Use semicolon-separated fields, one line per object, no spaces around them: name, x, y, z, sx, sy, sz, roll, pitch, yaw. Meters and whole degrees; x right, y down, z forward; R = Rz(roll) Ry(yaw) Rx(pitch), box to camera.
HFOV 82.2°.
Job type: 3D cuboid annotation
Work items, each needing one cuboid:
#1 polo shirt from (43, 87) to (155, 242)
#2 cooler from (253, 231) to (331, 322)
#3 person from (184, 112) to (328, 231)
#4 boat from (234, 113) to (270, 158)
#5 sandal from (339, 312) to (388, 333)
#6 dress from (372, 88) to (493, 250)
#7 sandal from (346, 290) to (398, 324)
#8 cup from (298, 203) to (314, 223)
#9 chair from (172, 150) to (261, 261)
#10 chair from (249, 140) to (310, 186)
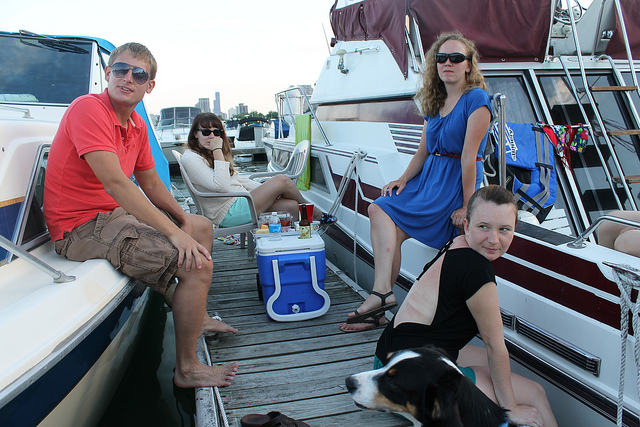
polo shirt;-1.585;-0.347;2.673;0.620;0.980;0.744;5;0;9
cooler;-0.285;0.617;3.968;0.694;0.771;1.076;-5;9;-7
person;-0.715;-0.459;4.348;1.772;1.216;0.913;5;24;-7
boat;-3.302;-4.149;19.275;2.442;1.908;4.053;-2;17;-8
sandal;0.382;0.979;3.345;0.515;0.194;0.173;1;-10;-5
dress;0.580;-0.629;4.004;1.284;2.300;0.911;1;18;-6
sandal;0.390;0.767;3.147;0.653;0.225;0.226;-4;13;-20
cup;-0.108;-0.012;3.787;0.168;0.200;0.178;-6;8;1
chair;-1.173;-0.038;4.373;0.964;1.203;0.913;0;7;-5
chair;-0.591;-0.700;5.366;0.817;1.091;0.707;-1;27;-16
